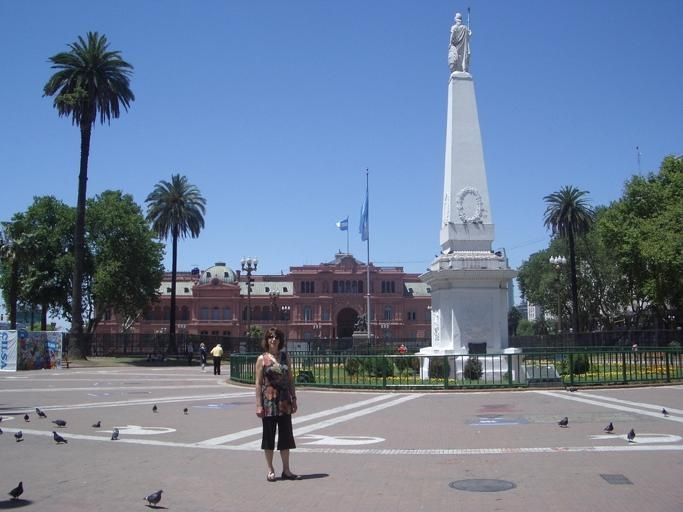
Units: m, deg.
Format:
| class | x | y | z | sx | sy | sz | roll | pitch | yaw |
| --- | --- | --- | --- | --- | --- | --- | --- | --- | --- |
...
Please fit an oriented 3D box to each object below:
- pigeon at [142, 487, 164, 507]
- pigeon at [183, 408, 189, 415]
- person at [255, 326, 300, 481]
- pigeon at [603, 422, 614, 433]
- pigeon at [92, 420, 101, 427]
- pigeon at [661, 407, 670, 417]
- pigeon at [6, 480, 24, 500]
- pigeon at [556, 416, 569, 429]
| class | x | y | z | sx | sy | sz | roll | pitch | yaw |
| --- | --- | --- | --- | --- | --- | --- | --- | --- | --- |
| pigeon | -3.150 | 4.057 | 12.962 | 0.291 | 0.271 | 0.456 | 2 | -8 | -17 |
| pigeon | -4.283 | 4.257 | 21.178 | 0.167 | 0.248 | 0.231 | -2 | -17 | 0 |
| person | -1.220 | 2.713 | 14.269 | 0.692 | 2.688 | 0.504 | 0 | -6 | -14 |
| pigeon | 5.936 | 3.819 | 17.140 | 0.224 | 0.283 | 0.272 | 4 | -10 | -9 |
| pigeon | -5.926 | 4.086 | 18.725 | 0.181 | 0.214 | 0.161 | 3 | -5 | 2 |
| pigeon | 7.959 | 3.860 | 19.077 | 0.190 | 0.228 | 0.227 | -9 | -25 | 14 |
| pigeon | -5.552 | 3.997 | 13.209 | 0.244 | 0.280 | 0.468 | 3 | -9 | -24 |
| pigeon | 5.212 | 3.891 | 18.022 | 0.364 | 0.289 | 0.208 | 0 | -3 | -29 |
